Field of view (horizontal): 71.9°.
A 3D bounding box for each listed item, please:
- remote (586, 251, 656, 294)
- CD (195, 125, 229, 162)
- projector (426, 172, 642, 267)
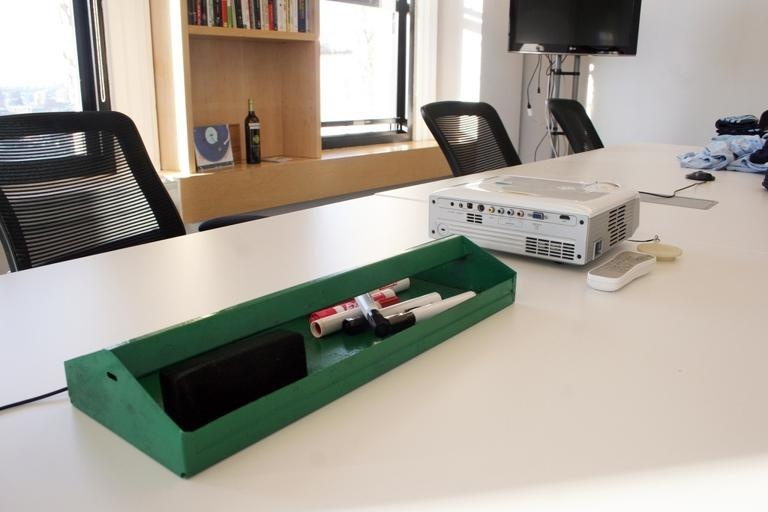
[{"bbox_3d":[0.481,0.013,1.070,0.073,0.038,0.160,14,26,41],"label":"remote"},{"bbox_3d":[-0.876,-0.580,2.732,0.019,0.172,0.240,12,18,34],"label":"CD"},{"bbox_3d":[0.376,-0.126,1.272,0.450,0.190,0.384,5,13,32],"label":"projector"}]
